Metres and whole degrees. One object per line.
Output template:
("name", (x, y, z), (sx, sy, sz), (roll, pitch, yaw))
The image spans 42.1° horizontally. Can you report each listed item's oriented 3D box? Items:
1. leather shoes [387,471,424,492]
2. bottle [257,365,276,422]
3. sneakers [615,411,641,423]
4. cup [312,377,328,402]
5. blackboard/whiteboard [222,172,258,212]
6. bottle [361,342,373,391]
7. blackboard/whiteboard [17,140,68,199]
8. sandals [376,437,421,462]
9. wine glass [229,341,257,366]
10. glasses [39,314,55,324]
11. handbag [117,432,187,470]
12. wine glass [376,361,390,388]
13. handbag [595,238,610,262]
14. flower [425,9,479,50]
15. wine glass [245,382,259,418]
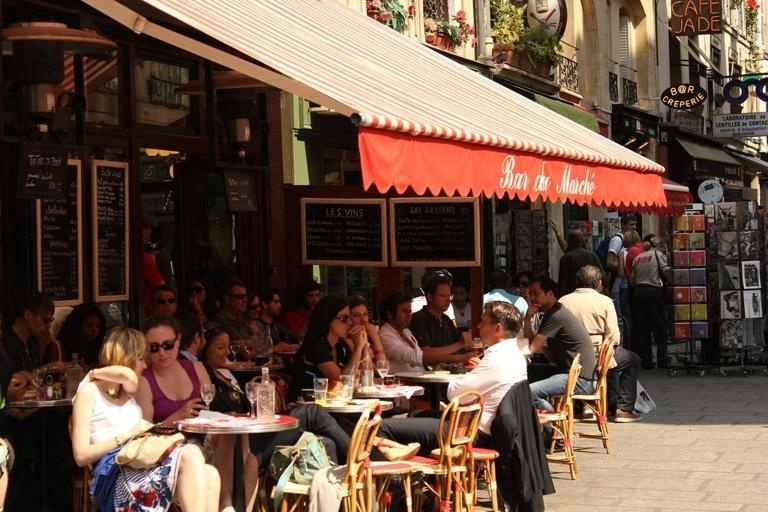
("leather shoes", (0.213, 2.027, 8.948), (0.281, 0.313, 0.194), (4, -6, -28))
("bottle", (-0.998, 1.202, 8.413), (0.167, 0.503, 0.183), (-4, -25, -2))
("sneakers", (3.269, 2.135, 13.281), (0.367, 0.177, 0.147), (-1, 2, -32))
("cup", (-0.568, 1.227, 9.086), (0.163, 0.217, 0.128), (-2, -3, -34))
("blackboard/whiteboard", (-1.577, -0.726, 11.020), (0.141, 0.450, 0.489), (-4, -3, 24))
("bottle", (-0.171, 1.106, 9.955), (0.138, 0.533, 0.149), (0, 17, 0))
("blackboard/whiteboard", (-3.367, -0.839, 9.776), (0.072, 0.533, 0.539), (-7, -6, 40))
("sandals", (0.109, 1.761, 9.063), (0.435, 0.206, 0.170), (-1, 1, 18))
("wine glass", (-1.645, 1.132, 11.720), (0.253, 0.323, 0.258), (0, 2, -21))
("glasses", (-3.407, 0.632, 10.036), (0.139, 0.049, 0.146), (-1, -1, 20))
("handbag", (-1.863, 1.445, 7.808), (0.313, 0.128, 0.337), (8, 31, 36))
("wine glass", (0.002, 1.182, 10.106), (0.174, 0.295, 0.151), (-3, 4, -35))
("handbag", (4.274, -0.093, 19.396), (0.302, 0.682, 0.449), (3, 0, 10))
("flower", (1.226, -4.144, 18.160), (0.877, 0.713, 0.716), (-1, 1, 6))
("wine glass", (-1.118, 1.215, 8.430), (0.089, 0.266, 0.305), (-3, -3, -9))
